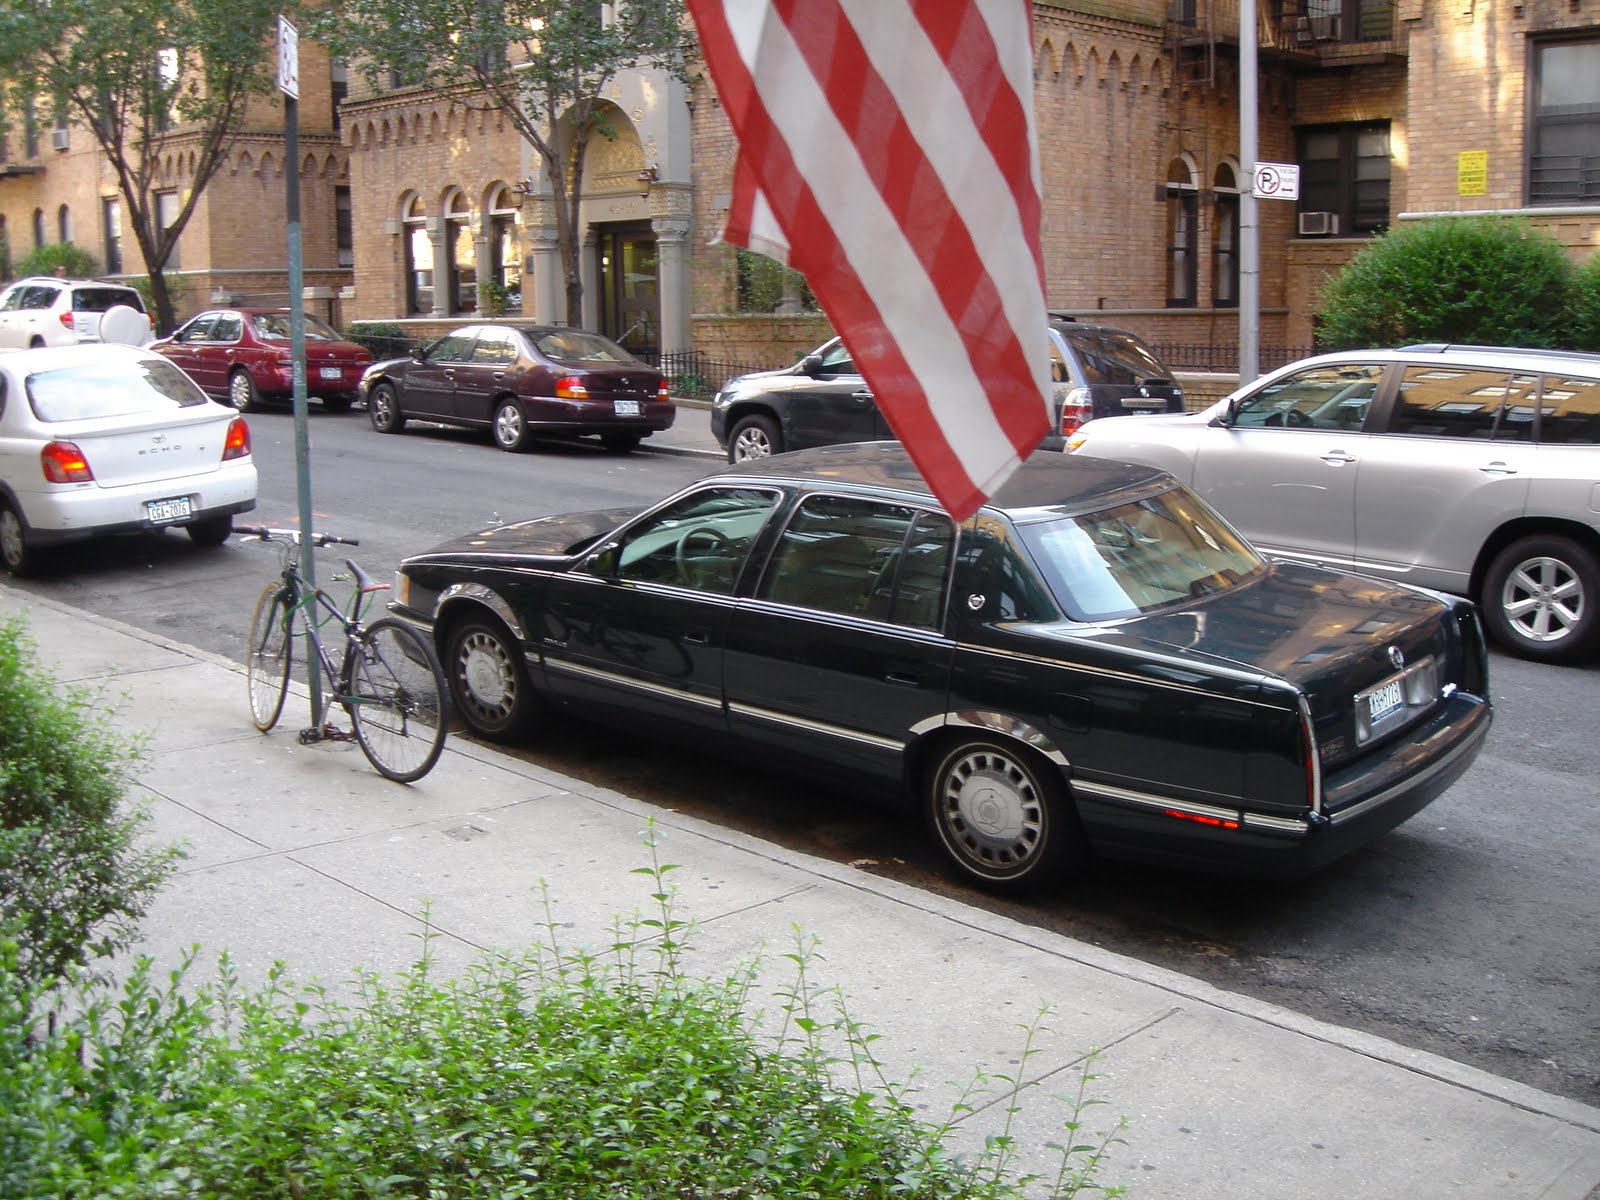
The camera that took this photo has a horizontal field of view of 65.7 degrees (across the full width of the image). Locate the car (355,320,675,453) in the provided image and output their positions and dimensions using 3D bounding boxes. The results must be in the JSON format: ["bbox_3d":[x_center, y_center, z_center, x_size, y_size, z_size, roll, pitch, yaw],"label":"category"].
[{"bbox_3d":[-4.824,-3.658,21.343,5.197,2.195,1.701,8,9,34],"label":"car"}]

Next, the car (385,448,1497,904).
[{"bbox_3d":[0.336,0.290,6.715,5.443,1.182,2.345,10,18,30],"label":"car"}]

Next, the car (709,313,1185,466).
[{"bbox_3d":[1.272,-2.655,17.345,6.772,2.102,3.047,11,18,35],"label":"car"}]
